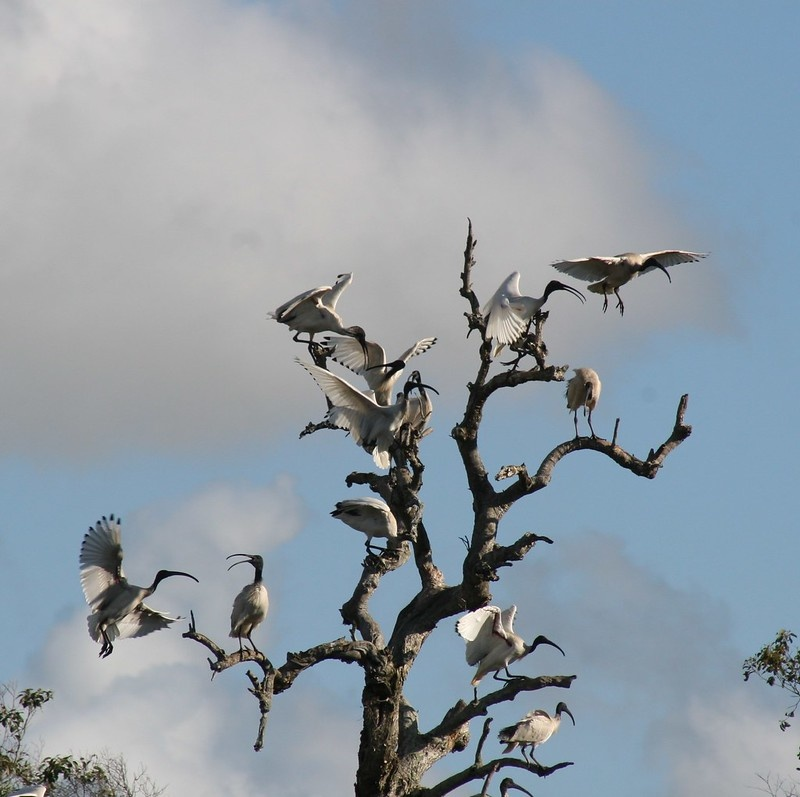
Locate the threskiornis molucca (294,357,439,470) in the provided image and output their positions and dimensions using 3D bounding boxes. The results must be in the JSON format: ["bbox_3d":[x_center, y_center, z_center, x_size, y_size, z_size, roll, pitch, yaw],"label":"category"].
[{"bbox_3d":[-0.469,0.163,22.381,1.546,0.859,1.104,24,-41,-35],"label":"threskiornis molucca"}]

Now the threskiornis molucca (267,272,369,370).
[{"bbox_3d":[-0.841,-0.745,21.192,0.656,0.993,0.399,28,-63,3],"label":"threskiornis molucca"}]

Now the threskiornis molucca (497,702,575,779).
[{"bbox_3d":[1.493,3.738,22.082,0.832,0.813,0.328,11,-19,-10],"label":"threskiornis molucca"}]

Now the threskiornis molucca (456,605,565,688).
[{"bbox_3d":[1.023,2.716,21.724,0.726,0.860,0.839,-3,-44,10],"label":"threskiornis molucca"}]

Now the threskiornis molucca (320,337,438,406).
[{"bbox_3d":[-0.397,-0.437,23.783,1.112,0.817,0.838,1,-82,-28],"label":"threskiornis molucca"}]

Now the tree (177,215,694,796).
[{"bbox_3d":[0.329,1.492,19.568,4.383,4.863,7.193,3,-83,-7],"label":"tree"}]

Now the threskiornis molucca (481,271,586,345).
[{"bbox_3d":[1.146,-0.860,20.214,1.007,1.148,0.495,1,-67,-16],"label":"threskiornis molucca"}]
